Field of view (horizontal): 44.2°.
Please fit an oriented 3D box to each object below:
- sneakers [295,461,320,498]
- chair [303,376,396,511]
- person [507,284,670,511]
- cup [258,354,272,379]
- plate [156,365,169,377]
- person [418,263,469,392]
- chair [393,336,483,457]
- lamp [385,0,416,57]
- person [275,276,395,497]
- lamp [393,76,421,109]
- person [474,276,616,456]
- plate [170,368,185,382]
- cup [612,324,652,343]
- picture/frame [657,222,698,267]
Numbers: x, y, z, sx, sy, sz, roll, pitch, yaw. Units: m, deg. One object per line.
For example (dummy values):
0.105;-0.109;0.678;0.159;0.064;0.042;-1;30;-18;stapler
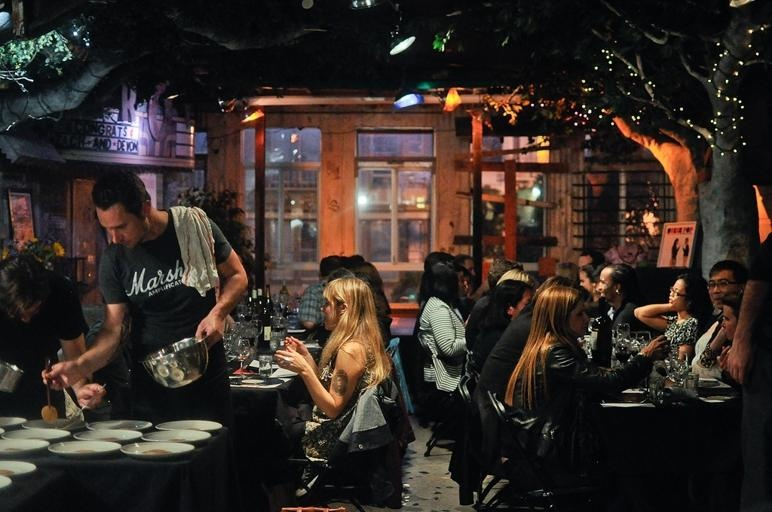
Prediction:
-0.590;1.685;7.263;0.145;0.329;0.115;-18;40;-43;sneakers
-0.193;1.433;7.149;0.990;0.961;0.777;0;-8;6;chair
1.361;0.920;6.856;0.962;1.422;0.260;0;3;14;person
-0.982;0.902;7.842;0.163;0.212;0.164;-2;-2;0;cup
-1.422;0.734;6.105;0.063;0.045;0.068;0;-2;0;plate
0.542;0.661;8.936;0.440;1.177;0.573;-1;3;0;person
0.406;1.297;9.280;1.056;1.258;0.939;-1;-2;-2;chair
0.107;-2.077;8.681;0.283;0.436;0.181;2;4;43;lamp
-0.327;0.861;7.040;0.784;1.402;0.657;0;3;0;person
0.242;-1.667;9.881;0.358;0.346;0.224;-7;-5;8;lamp
1.216;0.762;7.003;0.746;0.763;1.211;12;22;39;person
-1.337;0.754;6.110;0.091;0.082;0.020;-10;-1;-14;plate
2.068;0.665;7.969;0.251;0.223;0.251;0;0;0;cup
3.202;-0.123;10.315;0.083;0.442;0.485;18;-1;-24;picture/frame
